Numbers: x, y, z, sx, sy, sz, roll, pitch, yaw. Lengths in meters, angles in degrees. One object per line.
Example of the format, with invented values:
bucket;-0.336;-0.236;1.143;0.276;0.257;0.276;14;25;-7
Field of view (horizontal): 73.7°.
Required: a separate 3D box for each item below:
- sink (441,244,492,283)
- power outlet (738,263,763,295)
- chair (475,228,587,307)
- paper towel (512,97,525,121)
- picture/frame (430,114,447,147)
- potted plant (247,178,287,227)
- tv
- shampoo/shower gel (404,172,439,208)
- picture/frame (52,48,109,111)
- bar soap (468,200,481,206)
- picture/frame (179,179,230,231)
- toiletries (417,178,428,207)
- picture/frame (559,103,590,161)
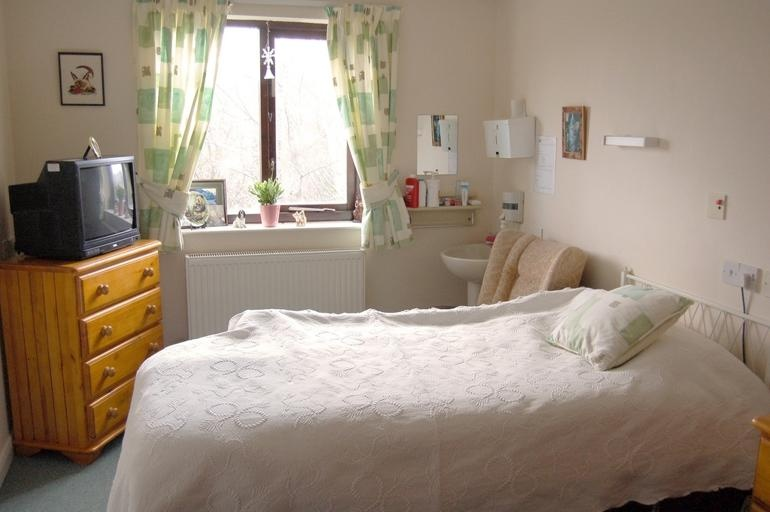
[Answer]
sink;0.687;0.035;4.266;0.305;0.183;0.439;-4;11;-7
power outlet;1.841;0.123;2.603;0.028;0.117;0.122;-1;9;-26
chair;1.016;0.061;3.766;0.565;0.790;0.549;3;10;-26
paper towel;1.065;-1.168;4.057;0.133;0.142;0.114;-2;13;-2
picture/frame;0.461;-1.077;4.415;0.121;0.265;0.035;-4;13;-11
potted plant;-0.933;-0.443;4.221;0.330;0.493;0.350;0;6;3
tv;-1.941;-0.301;3.460;0.650;0.756;0.715;3;6;15
shampoo/shower gel;0.319;-0.549;4.348;0.311;0.354;0.245;-3;7;-17
picture/frame;-2.250;-1.322;3.795;0.434;0.561;0.028;-2;8;-22
bar soap;0.792;-0.474;4.504;0.096;0.045;0.151;1;13;14
picture/frame;-1.457;-0.417;4.127;0.030;0.354;0.396;2;5;42
toiletries;0.327;-0.534;4.343;0.059;0.234;0.067;-1;13;4
picture/frame;1.351;-0.888;3.642;0.048;0.475;0.374;-4;9;-17
